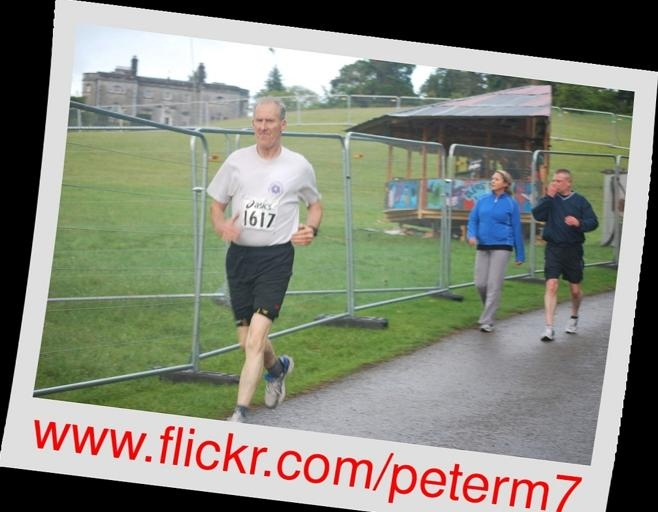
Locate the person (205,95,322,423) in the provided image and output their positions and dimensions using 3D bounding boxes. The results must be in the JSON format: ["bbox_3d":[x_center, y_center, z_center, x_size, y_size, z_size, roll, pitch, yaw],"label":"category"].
[{"bbox_3d":[-0.521,0.076,5.774,0.945,2.848,0.916,1,9,-20],"label":"person"}]

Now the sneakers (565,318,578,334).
[{"bbox_3d":[2.918,0.846,8.052,0.096,0.101,0.249,1,7,27],"label":"sneakers"}]

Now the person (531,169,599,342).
[{"bbox_3d":[2.833,-0.039,8.102,0.774,2.012,0.618,0,9,-22],"label":"person"}]

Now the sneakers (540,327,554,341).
[{"bbox_3d":[2.594,0.918,7.939,0.149,0.158,0.246,6,9,19],"label":"sneakers"}]

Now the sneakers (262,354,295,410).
[{"bbox_3d":[-0.455,1.186,6.175,0.210,0.527,0.267,10,4,21],"label":"sneakers"}]

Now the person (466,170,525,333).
[{"bbox_3d":[2.067,-0.072,8.390,0.578,1.979,0.631,1,9,-17],"label":"person"}]

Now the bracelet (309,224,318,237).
[{"bbox_3d":[-0.126,-0.220,5.765,0.027,0.085,0.098,-1,-3,-16],"label":"bracelet"}]

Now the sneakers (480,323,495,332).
[{"bbox_3d":[1.963,0.885,8.313,0.175,0.099,0.221,5,8,14],"label":"sneakers"}]
